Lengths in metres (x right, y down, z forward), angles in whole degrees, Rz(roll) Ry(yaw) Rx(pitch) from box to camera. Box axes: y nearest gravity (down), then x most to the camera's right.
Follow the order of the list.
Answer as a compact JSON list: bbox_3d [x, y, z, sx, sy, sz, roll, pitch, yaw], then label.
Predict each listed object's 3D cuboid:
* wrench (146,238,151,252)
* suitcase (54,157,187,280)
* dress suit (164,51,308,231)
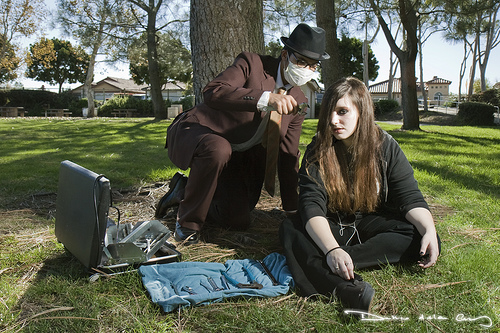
[{"bbox_3d":[-0.813,0.629,3.266,0.030,0.010,0.094,2,50,-1],"label":"wrench"},{"bbox_3d":[-1.056,0.327,3.405,0.888,0.826,0.917,-4,12,-33],"label":"suitcase"},{"bbox_3d":[-0.110,-0.225,3.862,1.284,1.699,0.680,0,7,-12],"label":"dress suit"}]
